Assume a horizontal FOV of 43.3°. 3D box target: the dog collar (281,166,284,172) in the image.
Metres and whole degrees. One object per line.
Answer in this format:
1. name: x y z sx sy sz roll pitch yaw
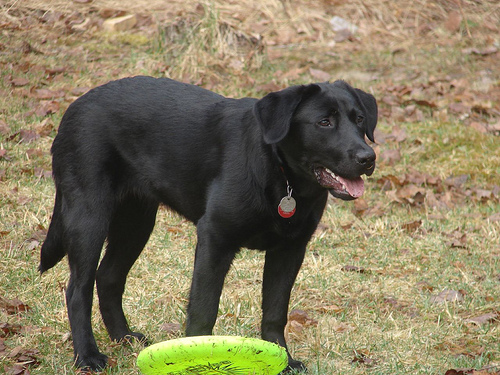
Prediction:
1. dog collar: 0.237 -0.141 4.511 0.023 0.037 0.009 -15 3 -6
